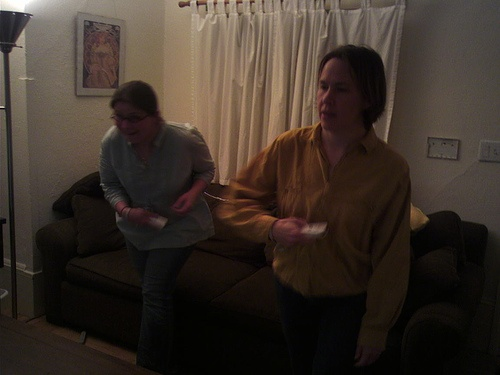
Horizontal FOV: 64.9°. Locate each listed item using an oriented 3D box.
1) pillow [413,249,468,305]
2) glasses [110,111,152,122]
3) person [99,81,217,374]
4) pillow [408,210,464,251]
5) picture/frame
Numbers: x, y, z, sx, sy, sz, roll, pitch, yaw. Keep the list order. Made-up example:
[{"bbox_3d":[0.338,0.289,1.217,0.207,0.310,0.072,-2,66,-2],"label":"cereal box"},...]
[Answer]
[{"bbox_3d":[0.848,0.403,1.810,0.198,0.202,0.279,8,10,24],"label":"pillow"},{"bbox_3d":[-0.480,-0.282,1.599,0.124,0.035,0.034,4,9,-2],"label":"glasses"},{"bbox_3d":[-0.415,0.212,1.773,0.515,1.325,0.279,1,9,-17],"label":"person"},{"bbox_3d":[0.974,0.238,2.051,0.253,0.194,0.196,-9,21,15],"label":"pillow"},{"bbox_3d":[-0.797,-0.694,2.102,0.253,0.425,0.121,-1,9,-25],"label":"picture/frame"}]
